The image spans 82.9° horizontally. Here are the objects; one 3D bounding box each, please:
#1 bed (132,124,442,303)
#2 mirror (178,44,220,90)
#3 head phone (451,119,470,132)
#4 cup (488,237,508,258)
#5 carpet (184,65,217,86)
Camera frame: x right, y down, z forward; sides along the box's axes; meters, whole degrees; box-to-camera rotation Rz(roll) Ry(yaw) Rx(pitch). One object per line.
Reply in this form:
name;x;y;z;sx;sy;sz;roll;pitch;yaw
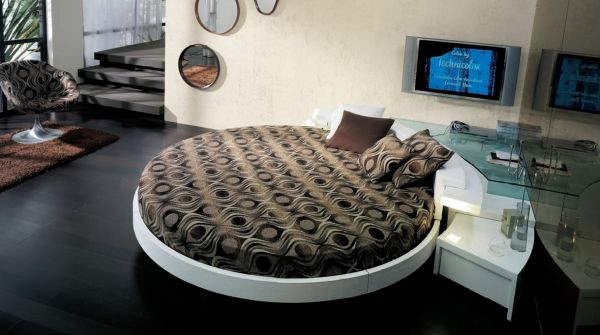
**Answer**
bed;-0.208;0.460;3.758;3.112;0.877;2.046;12;23;22
mirror;-1.864;-1.937;6.446;0.790;0.751;0.140;13;22;19
head phone;2.537;-0.661;5.450;0.267;0.127;0.182;12;36;8
cup;1.945;0.770;3.363;0.154;0.123;0.188;16;25;31
carpet;-1.848;-1.740;6.482;0.606;0.376;0.136;2;17;13
